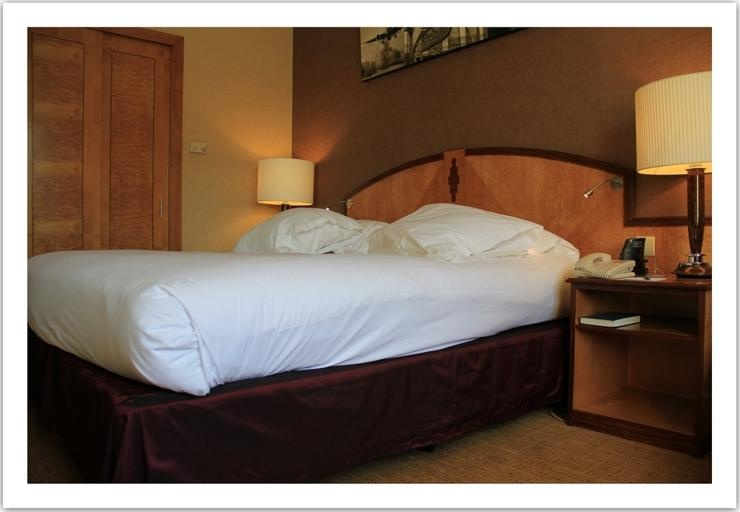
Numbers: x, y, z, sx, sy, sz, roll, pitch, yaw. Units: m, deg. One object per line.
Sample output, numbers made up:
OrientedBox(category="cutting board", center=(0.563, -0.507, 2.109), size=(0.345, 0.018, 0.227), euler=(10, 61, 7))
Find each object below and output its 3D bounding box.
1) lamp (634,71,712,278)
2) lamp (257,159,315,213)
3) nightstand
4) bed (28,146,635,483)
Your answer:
OrientedBox(category="lamp", center=(1.516, -0.391, 2.603), size=(0.418, 0.960, 0.306), euler=(8, 8, 38))
OrientedBox(category="lamp", center=(-0.766, -0.580, 4.914), size=(0.564, 0.591, 0.528), euler=(-2, 7, -27))
OrientedBox(category="nightstand", center=(1.418, 0.489, 2.621), size=(0.683, 0.708, 0.680), euler=(1, 1, -33))
OrientedBox(category="bed", center=(-0.108, 0.317, 2.474), size=(2.088, 0.899, 2.009), euler=(0, 1, -33))
